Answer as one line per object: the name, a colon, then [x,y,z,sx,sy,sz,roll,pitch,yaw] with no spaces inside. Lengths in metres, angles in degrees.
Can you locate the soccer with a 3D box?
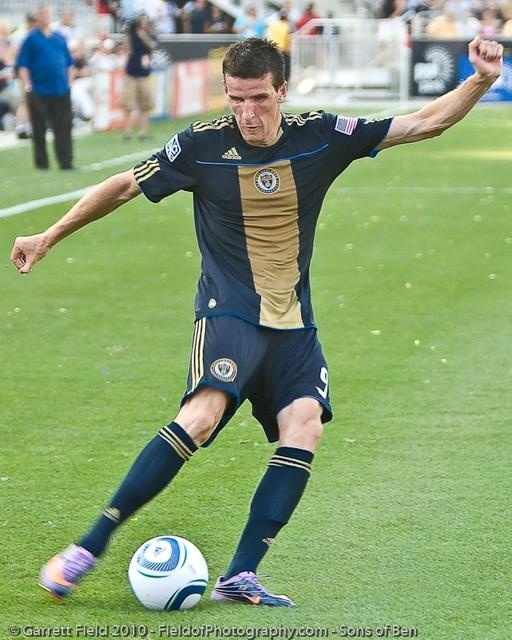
soccer: [-0.284,0.746,2.313,0.259,0.195,0.215,16,-6,-15]

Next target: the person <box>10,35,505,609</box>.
person: [0.044,-0.015,2.407,1.533,1.744,0.789,-4,16,-15]

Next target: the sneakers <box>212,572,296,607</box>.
sneakers: [-0.018,0.806,2.302,0.325,0.100,0.084,3,-2,0]
